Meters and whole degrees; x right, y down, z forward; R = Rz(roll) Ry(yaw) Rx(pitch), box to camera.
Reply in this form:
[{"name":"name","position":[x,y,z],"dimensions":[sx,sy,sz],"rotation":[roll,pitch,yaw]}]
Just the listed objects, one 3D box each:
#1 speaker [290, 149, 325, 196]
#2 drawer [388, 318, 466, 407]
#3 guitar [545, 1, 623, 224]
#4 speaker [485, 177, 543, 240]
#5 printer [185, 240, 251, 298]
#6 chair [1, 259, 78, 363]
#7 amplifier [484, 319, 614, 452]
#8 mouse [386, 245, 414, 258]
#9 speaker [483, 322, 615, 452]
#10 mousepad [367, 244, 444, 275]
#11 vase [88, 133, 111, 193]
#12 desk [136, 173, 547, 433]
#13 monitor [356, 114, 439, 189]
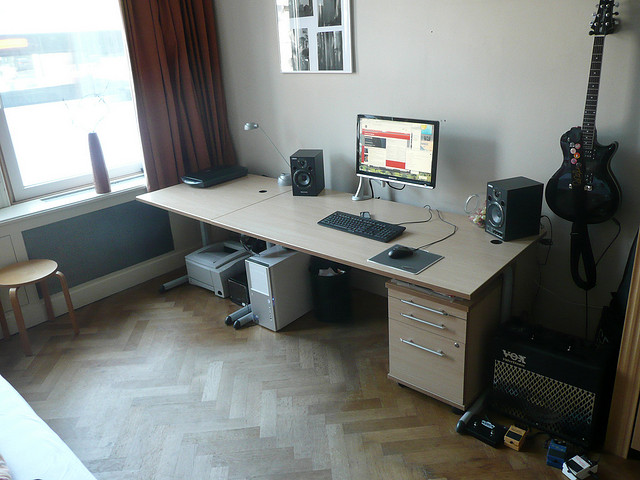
[{"name":"speaker","position":[-0.103,-0.486,3.833],"dimensions":[0.215,0.345,0.211],"rotation":[10,26,20]},{"name":"drawer","position":[0.679,0.663,2.976],"dimensions":[0.442,0.346,0.447],"rotation":[13,20,33]},{"name":"guitar","position":[1.517,-0.662,2.748],"dimensions":[0.382,1.154,0.227],"rotation":[9,27,23]},{"name":"speaker","position":[1.112,-0.179,2.983],"dimensions":[0.249,0.376,0.275],"rotation":[0,22,-11]},{"name":"printer","position":[-0.855,0.211,4.349],"dimensions":[0.522,0.306,0.508],"rotation":[18,24,41]},{"name":"chair","position":[-2.074,0.461,3.691],"dimensions":[0.378,0.536,0.567],"rotation":[-18,29,-30]},{"name":"amplifier","position":[1.398,0.728,3.002],"dimensions":[0.717,0.591,0.569],"rotation":[14,23,34]},{"name":"mouse","position":[0.437,0.058,2.816],"dimensions":[0.121,0.039,0.065],"rotation":[-17,25,-34]},{"name":"speaker","position":[1.239,0.791,2.689],"dimensions":[0.552,0.512,0.287],"rotation":[14,24,38]},{"name":"mousepad","position":[0.479,0.098,2.807],"dimensions":[0.322,0.029,0.301],"rotation":[19,32,37]},{"name":"vase","position":[-1.804,-0.614,4.029],"dimensions":[0.101,0.460,0.113],"rotation":[-13,27,-22]},{"name":"desk","position":[0.031,0.244,3.623],"dimensions":[2.724,0.861,1.110],"rotation":[14,29,34]},{"name":"monitor","position":[0.528,-0.605,3.337],"dimensions":[0.501,0.360,0.053],"rotation":[13,24,30]}]
